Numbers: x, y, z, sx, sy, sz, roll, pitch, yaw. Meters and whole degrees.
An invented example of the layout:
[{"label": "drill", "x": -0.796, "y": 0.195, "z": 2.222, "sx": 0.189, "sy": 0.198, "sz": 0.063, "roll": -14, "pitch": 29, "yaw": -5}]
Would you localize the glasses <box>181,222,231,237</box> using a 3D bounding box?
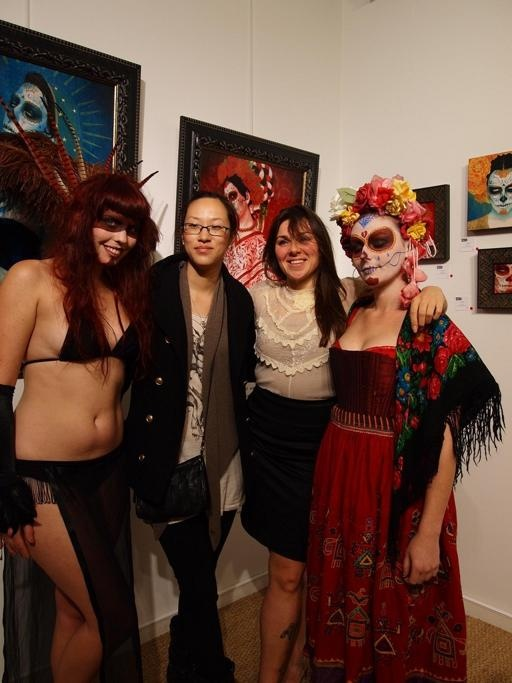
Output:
[{"label": "glasses", "x": -0.154, "y": -0.351, "z": 1.697, "sx": 0.142, "sy": 0.045, "sz": 0.069, "roll": -2, "pitch": 9, "yaw": -6}]
